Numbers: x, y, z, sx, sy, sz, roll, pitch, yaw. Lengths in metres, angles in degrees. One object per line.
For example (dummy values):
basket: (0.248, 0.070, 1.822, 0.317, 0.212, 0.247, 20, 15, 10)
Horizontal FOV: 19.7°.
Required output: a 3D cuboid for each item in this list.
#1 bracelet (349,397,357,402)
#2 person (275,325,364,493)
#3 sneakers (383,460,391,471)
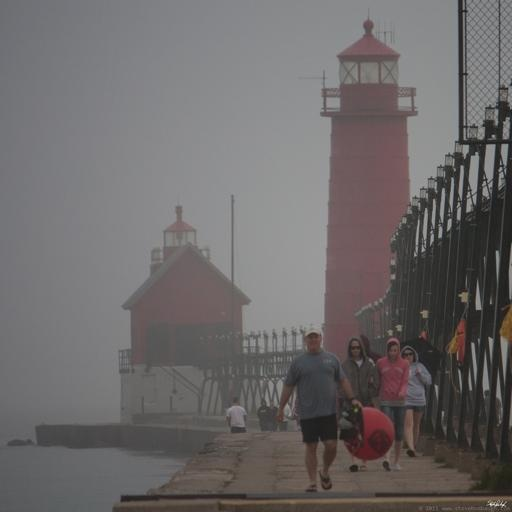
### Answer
bracelet: (1.449, 2.120, 22.173, 0.089, 0.025, 0.091, 17, -22, -16)
person: (0.854, 2.221, 21.413, 0.901, 2.297, 0.740, 0, -8, 3)
sneakers: (2.107, 3.337, 23.819, 0.128, 0.178, 0.298, 0, -10, 5)
